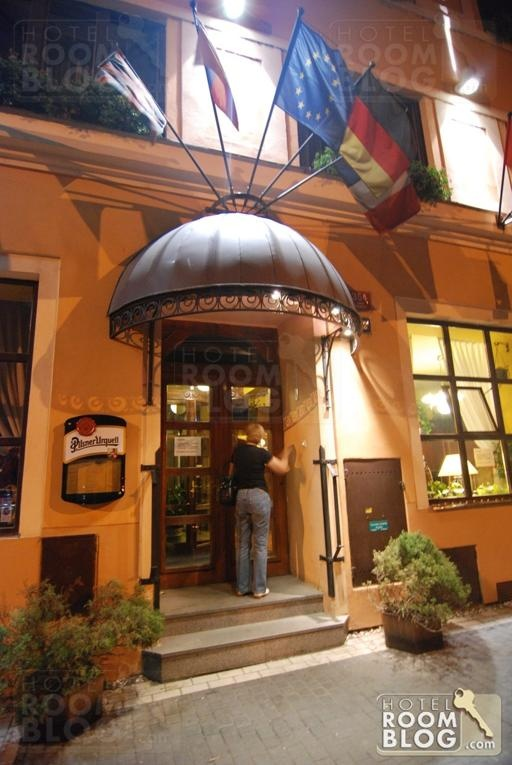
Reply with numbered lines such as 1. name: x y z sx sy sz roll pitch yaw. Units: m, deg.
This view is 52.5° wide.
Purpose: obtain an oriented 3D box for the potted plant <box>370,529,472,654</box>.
1. potted plant: 1.532 2.003 5.019 0.678 1.059 0.839 8 -16 -25

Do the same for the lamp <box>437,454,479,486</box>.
1. lamp: 2.538 1.088 6.616 0.376 0.253 0.391 -6 -5 23

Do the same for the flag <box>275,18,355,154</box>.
1. flag: 0.579 -3.108 5.391 0.288 1.242 1.154 -5 -6 42

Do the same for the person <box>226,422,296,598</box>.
1. person: 0.008 1.306 5.483 0.575 1.737 0.794 -1 -5 -2

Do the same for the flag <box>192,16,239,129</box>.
1. flag: -0.457 -3.099 5.078 0.404 1.198 0.121 1 -22 -40

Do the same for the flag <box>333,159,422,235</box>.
1. flag: 1.391 -2.222 6.239 0.912 0.115 0.999 -26 -66 12
